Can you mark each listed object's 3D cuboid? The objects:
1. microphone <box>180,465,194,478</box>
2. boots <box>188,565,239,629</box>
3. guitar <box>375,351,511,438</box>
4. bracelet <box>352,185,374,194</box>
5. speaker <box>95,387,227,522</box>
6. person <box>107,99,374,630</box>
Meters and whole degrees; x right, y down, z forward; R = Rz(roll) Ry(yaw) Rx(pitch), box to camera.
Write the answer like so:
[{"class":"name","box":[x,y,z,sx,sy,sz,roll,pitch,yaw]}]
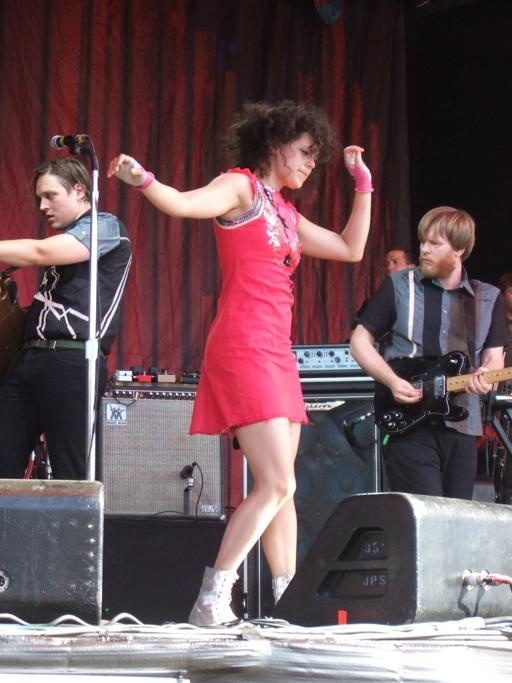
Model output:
[{"class":"microphone","box":[-0.244,0.459,4.156,0.045,0.036,0.087,6,-13,-18]},{"class":"boots","box":[-0.083,0.559,2.571,0.138,0.130,0.058,6,13,-38]},{"class":"guitar","box":[0.457,0.143,3.306,0.291,0.244,0.162,4,3,19]},{"class":"bracelet","box":[0.281,-0.392,3.080,0.049,0.016,0.046,0,3,-16]},{"class":"speaker","box":[-0.392,0.431,4.343,0.664,0.624,0.395,1,-10,-9]},{"class":"person","box":[-0.048,0.029,2.742,0.458,1.262,0.870,4,3,13]}]
